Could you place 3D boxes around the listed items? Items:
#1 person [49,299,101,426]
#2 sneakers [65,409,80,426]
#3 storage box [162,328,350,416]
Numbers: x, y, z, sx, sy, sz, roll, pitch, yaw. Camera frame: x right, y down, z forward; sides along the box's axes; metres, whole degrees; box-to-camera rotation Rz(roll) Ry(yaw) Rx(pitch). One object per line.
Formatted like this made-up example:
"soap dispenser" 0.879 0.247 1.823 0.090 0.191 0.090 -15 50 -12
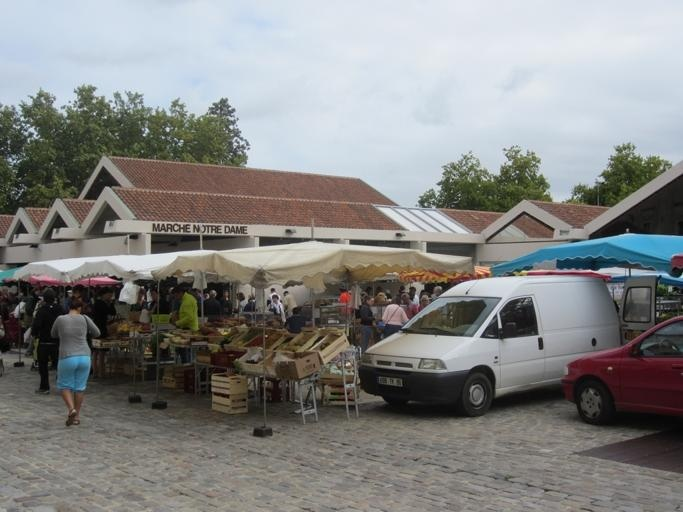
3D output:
"person" -4.901 1.925 13.226 0.794 2.214 1.103 -2 3 -21
"sneakers" -4.801 2.866 12.850 0.185 0.351 0.156 5 22 -23
"storage box" -1.767 2.135 14.353 1.408 1.668 4.076 -4 4 -43
